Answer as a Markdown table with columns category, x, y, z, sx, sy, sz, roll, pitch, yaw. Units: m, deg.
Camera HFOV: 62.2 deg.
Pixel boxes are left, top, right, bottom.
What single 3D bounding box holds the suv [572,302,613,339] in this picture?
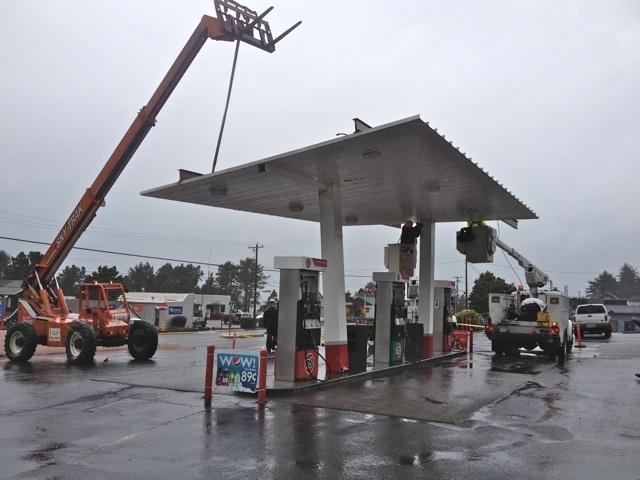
| category | x | y | z | sx | sy | sz | roll | pitch | yaw |
| --- | --- | --- | --- | --- | --- | --- | --- | --- | --- |
| suv | 16.218 | 4.777 | 31.575 | 2.184 | 2.016 | 1.508 | 0 | -3 | 12 |

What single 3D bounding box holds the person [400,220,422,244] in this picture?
| category | x | y | z | sx | sy | sz | roll | pitch | yaw |
| --- | --- | --- | --- | --- | --- | --- | --- | --- | --- |
| person | 3.189 | -0.276 | 18.785 | 1.123 | 0.883 | 0.509 | 4 | -5 | -41 |

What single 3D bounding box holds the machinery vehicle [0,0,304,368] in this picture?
| category | x | y | z | sx | sy | sz | roll | pitch | yaw |
| --- | --- | --- | --- | --- | --- | --- | --- | --- | --- |
| machinery vehicle | -6.646 | 0.738 | 26.662 | 17.751 | 22.396 | 5.829 | -3 | -5 | 20 |
